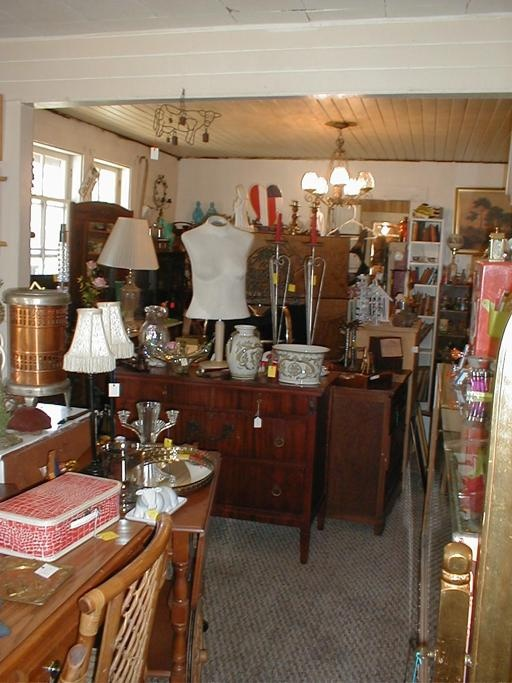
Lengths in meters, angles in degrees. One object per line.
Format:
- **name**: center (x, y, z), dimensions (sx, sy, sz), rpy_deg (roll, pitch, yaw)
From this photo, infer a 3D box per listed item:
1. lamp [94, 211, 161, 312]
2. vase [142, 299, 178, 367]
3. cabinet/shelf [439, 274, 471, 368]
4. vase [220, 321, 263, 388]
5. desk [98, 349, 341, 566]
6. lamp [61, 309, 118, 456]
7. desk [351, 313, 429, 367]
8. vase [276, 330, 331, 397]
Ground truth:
- **lamp**: center (-0.884, -0.694, 3.749), dimensions (0.418, 0.350, 0.230), rpy_deg (-1, 7, -29)
- **vase**: center (-0.547, -0.025, 2.891), dimensions (0.190, 0.315, 0.178), rpy_deg (2, 4, -14)
- **cabinet/shelf**: center (2.662, -0.304, 7.188), dimensions (0.402, 1.166, 0.353), rpy_deg (4, 6, 18)
- **vase**: center (-0.062, 0.051, 2.757), dimensions (0.186, 0.279, 0.173), rpy_deg (1, 6, -13)
- **desk**: center (-0.148, 0.482, 2.389), dimensions (1.124, 0.899, 0.452), rpy_deg (2, 9, 13)
- **lamp**: center (-0.560, 0.158, 1.789), dimensions (0.153, 0.549, 0.399), rpy_deg (1, 6, -15)
- **desk**: center (0.991, -0.038, 3.823), dimensions (0.519, 0.439, 0.330), rpy_deg (1, 9, 3)
- **vase**: center (0.236, 0.117, 2.729), dimensions (0.241, 0.144, 0.232), rpy_deg (3, 10, 12)
